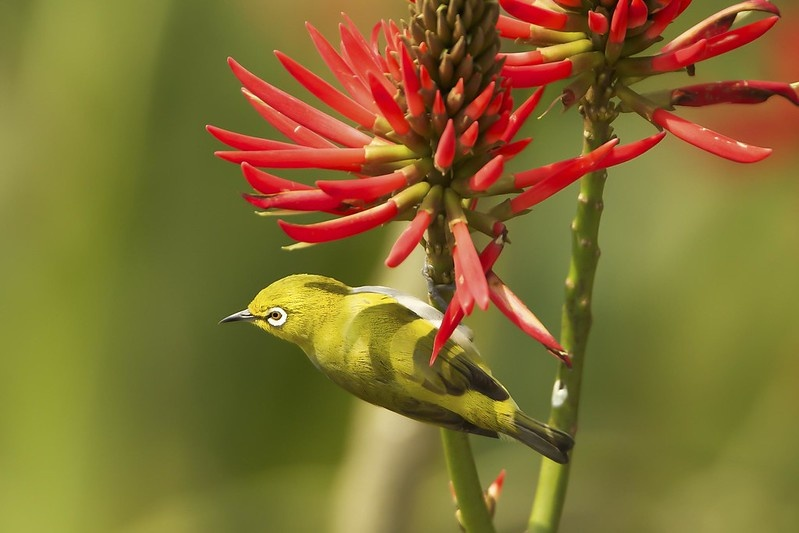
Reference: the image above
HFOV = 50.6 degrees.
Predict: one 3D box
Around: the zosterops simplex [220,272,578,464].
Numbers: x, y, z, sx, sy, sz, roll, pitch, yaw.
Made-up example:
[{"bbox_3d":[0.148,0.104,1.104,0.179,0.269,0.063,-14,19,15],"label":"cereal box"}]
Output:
[{"bbox_3d":[0.053,0.159,1.424,0.698,0.259,0.204,13,-18,3],"label":"zosterops simplex"}]
